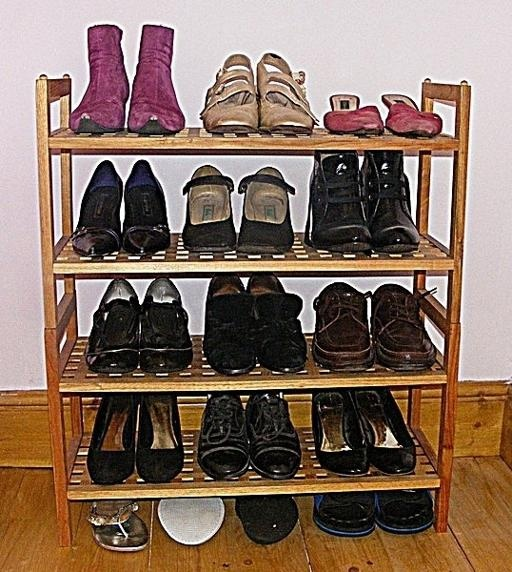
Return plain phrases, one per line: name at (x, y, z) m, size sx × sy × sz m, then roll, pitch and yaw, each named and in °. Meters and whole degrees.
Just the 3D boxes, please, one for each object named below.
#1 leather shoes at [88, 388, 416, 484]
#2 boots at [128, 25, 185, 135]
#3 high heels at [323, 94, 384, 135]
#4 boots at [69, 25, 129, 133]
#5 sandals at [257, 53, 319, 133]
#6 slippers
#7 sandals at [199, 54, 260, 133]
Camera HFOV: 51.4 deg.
leather shoes at (0.034, 0.372, 1.364) m, size 0.557 × 0.127 × 0.242 m, roll 0°, pitch 34°, yaw -2°
boots at (-0.215, -0.458, 1.168) m, size 0.116 × 0.194 × 0.275 m, roll 1°, pitch 36°, yaw -9°
high heels at (0.227, -0.411, 1.262) m, size 0.125 × 0.117 × 0.355 m, roll 2°, pitch 14°, yaw 7°
boots at (-0.341, -0.454, 1.160) m, size 0.110 × 0.189 × 0.284 m, roll 5°, pitch 34°, yaw -4°
sandals at (0.061, -0.411, 1.180) m, size 0.129 × 0.084 × 0.255 m, roll -8°, pitch 42°, yaw -11°
slippers at (0.086, 0.718, 1.597) m, size 0.725 × 0.073 × 0.121 m, roll -1°, pitch 60°, yaw 1°
sandals at (-0.048, -0.421, 1.153) m, size 0.114 × 0.096 × 0.274 m, roll 0°, pitch 32°, yaw 2°
